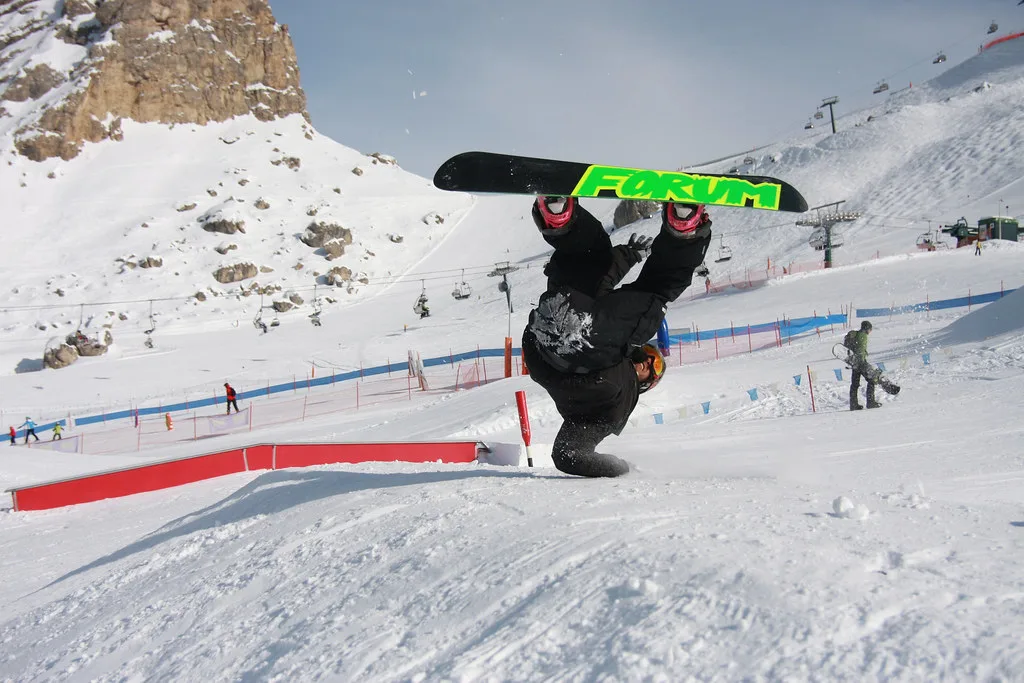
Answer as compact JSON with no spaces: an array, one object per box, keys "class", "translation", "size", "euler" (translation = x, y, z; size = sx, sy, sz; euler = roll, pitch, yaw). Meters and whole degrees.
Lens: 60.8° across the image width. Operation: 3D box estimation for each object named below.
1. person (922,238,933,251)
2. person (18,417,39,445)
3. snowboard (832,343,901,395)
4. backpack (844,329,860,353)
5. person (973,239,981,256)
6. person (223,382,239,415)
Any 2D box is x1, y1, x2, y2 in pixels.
[{"class":"person","translation":[24.728,-5.794,52.198],"size":[0.651,0.726,2.590],"euler":[-10,-1,27]},{"class":"person","translation":[-24.675,4.535,44.539],"size":[1.406,0.690,2.102],"euler":[-4,-23,-25]},{"class":"snowboard","translation":[12.150,0.969,30.229],"size":[0.596,1.905,0.573],"euler":[-1,-40,-40]},{"class":"backpack","translation":[11.119,-0.018,28.357],"size":[0.171,0.566,0.559],"euler":[18,-2,-24]},{"class":"person","translation":[25.896,-5.249,48.771],"size":[0.356,0.881,1.117],"euler":[-11,-1,30]},{"class":"person","translation":[-14.333,2.861,44.502],"size":[0.569,1.474,2.368],"euler":[-10,-1,-17]}]
